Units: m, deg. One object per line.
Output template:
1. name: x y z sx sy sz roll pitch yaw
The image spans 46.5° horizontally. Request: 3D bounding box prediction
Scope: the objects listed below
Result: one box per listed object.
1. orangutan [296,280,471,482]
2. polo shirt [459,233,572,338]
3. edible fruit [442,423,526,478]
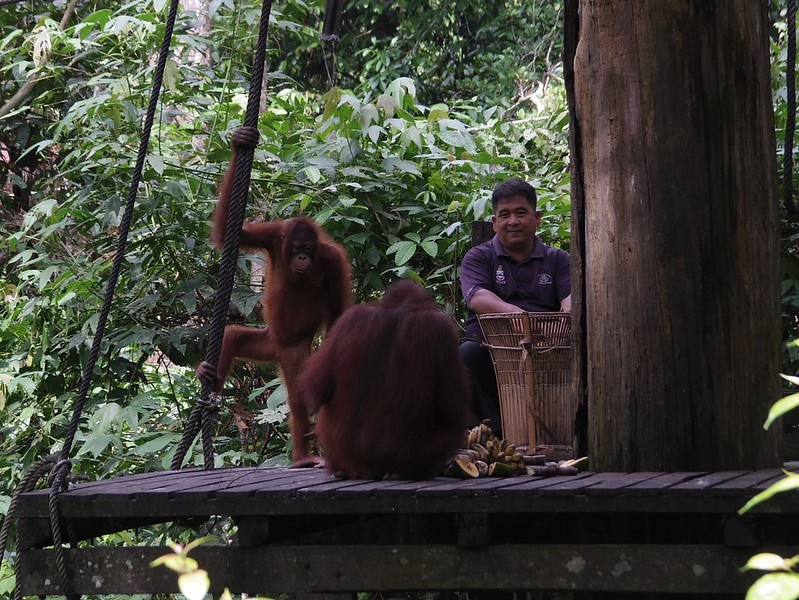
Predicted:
1. orangutan: -0.047 0.314 3.806 0.680 0.826 0.474 6 4 -3
2. polo shirt: 0.712 -0.086 5.238 0.584 0.639 0.338 -6 33 7
3. edible fruit: 0.355 0.642 3.825 0.186 0.104 0.234 3 17 -2
